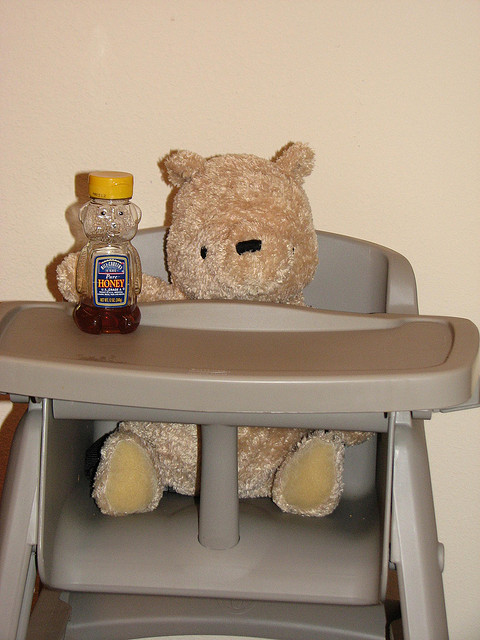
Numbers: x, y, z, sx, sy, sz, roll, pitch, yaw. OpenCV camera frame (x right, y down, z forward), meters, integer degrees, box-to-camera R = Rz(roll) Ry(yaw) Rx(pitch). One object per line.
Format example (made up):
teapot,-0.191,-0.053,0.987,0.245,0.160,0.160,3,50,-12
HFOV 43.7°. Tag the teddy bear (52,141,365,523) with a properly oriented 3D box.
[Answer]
teddy bear,-0.025,0.004,0.705,0.382,0.411,0.259,1,20,-5

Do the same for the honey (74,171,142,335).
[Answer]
honey,-0.125,-0.061,0.578,0.068,0.150,0.058,-2,14,-24

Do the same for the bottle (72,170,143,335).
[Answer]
bottle,-0.119,-0.052,0.610,0.089,0.189,0.083,2,11,0
